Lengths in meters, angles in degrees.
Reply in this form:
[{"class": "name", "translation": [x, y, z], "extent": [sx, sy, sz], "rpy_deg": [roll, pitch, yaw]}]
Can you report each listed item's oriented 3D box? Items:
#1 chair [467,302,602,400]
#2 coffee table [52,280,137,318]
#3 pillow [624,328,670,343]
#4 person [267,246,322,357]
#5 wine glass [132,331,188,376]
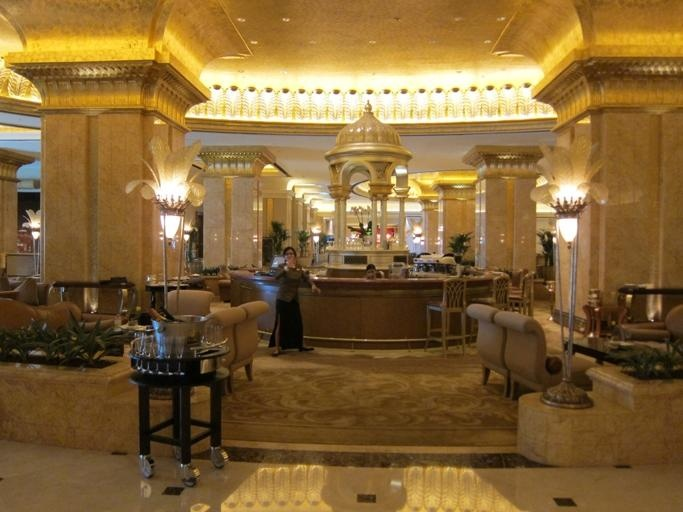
[{"class": "chair", "translation": [2.190, 1.018, 6.608], "extent": [1.043, 1.055, 1.702], "rpy_deg": [0, 1, -12]}, {"class": "coffee table", "translation": [-4.099, 0.748, 9.318], "extent": [1.153, 0.710, 0.671], "rpy_deg": [3, 2, -15]}, {"class": "pillow", "translation": [3.830, 1.004, 7.225], "extent": [0.292, 0.110, 0.270], "rpy_deg": [-1, -2, 6]}, {"class": "person", "translation": [-0.807, 0.688, 8.876], "extent": [0.816, 1.656, 0.475], "rpy_deg": [-6, 9, -43]}, {"class": "wine glass", "translation": [-1.552, 0.834, 4.753], "extent": [0.333, 0.287, 0.428], "rpy_deg": [-5, -10, 36]}]
